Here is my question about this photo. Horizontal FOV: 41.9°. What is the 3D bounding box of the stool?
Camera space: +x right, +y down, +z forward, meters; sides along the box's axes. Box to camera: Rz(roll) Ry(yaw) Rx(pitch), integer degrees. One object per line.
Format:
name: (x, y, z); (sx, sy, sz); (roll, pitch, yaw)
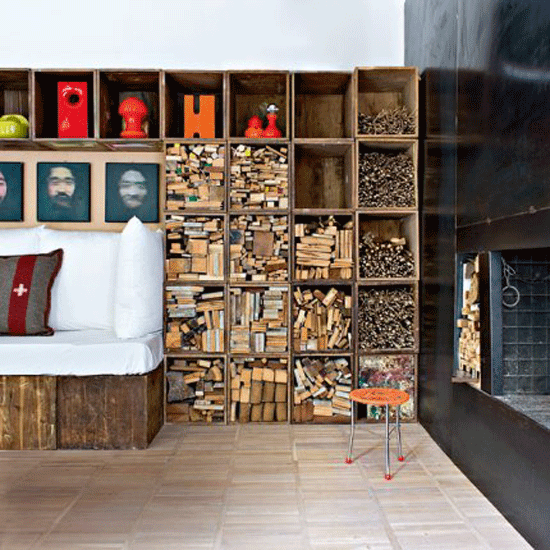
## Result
stool: (0.641, 0.885, 4.517); (0.366, 0.498, 0.892); (2, 13, 10)

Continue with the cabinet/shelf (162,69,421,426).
cabinet/shelf: (0.093, -0.121, 4.979); (2.174, 3.280, 0.786); (-1, 2, 2)
